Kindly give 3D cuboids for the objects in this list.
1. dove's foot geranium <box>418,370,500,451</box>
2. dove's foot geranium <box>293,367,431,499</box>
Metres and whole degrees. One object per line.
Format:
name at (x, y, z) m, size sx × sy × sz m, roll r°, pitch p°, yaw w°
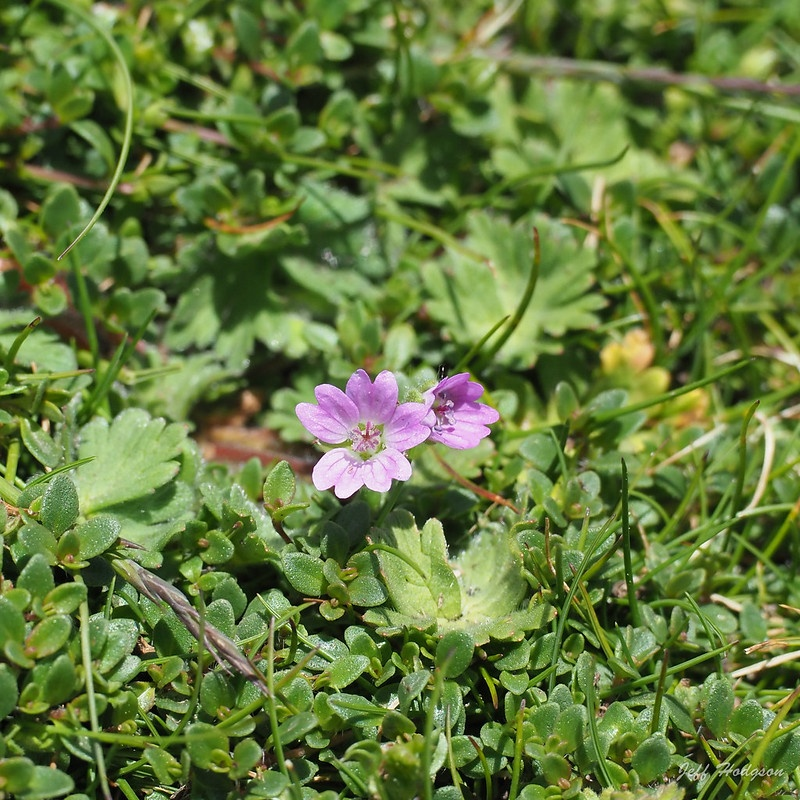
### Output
dove's foot geranium at (0.114, 0.038, 1.755) m, size 0.155 × 0.077 × 0.156 m, roll -37°, pitch 94°, yaw -23°
dove's foot geranium at (-0.067, 0.071, 1.658) m, size 0.251 × 0.118 × 0.245 m, roll -7°, pitch 56°, yaw -8°
